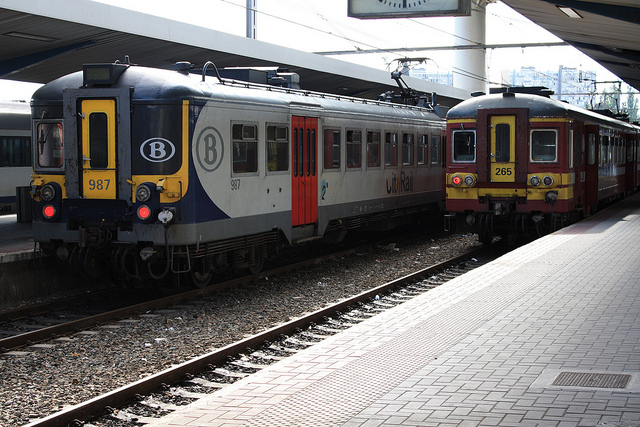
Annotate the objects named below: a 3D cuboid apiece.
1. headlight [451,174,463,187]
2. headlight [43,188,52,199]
[{"bbox_3d":[4.214,-1.022,16.133,0.360,0.335,0.116,-5,2,36],"label":"headlight"},{"bbox_3d":[-5.848,-0.436,11.223,0.196,0.204,0.046,16,-1,8],"label":"headlight"}]
